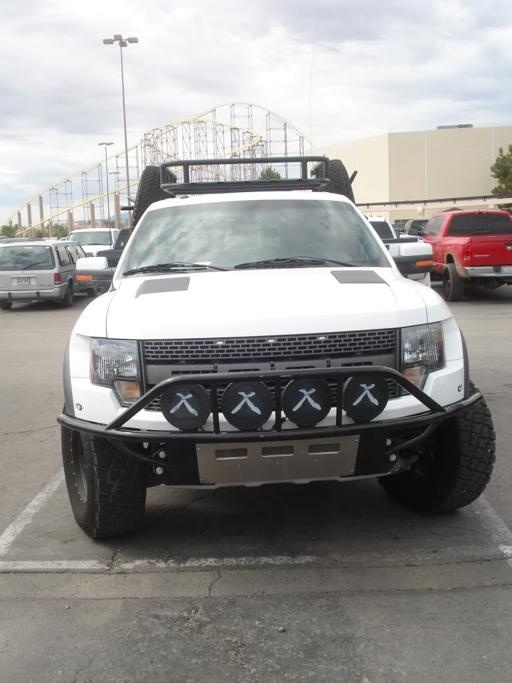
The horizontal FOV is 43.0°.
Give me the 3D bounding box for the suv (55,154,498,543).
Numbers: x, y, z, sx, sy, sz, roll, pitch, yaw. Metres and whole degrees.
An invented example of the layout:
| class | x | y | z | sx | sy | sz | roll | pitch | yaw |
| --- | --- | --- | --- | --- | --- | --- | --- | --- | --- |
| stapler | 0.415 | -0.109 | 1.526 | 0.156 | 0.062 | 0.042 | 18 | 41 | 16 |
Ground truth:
| class | x | y | z | sx | sy | sz | roll | pitch | yaw |
| --- | --- | --- | --- | --- | --- | --- | --- | --- | --- |
| suv | -0.043 | -0.373 | 4.445 | 2.172 | 2.050 | 3.912 | -2 | 12 | -4 |
